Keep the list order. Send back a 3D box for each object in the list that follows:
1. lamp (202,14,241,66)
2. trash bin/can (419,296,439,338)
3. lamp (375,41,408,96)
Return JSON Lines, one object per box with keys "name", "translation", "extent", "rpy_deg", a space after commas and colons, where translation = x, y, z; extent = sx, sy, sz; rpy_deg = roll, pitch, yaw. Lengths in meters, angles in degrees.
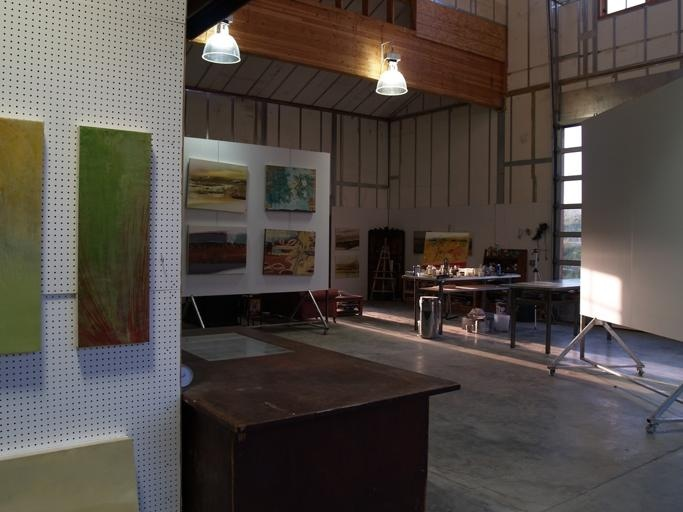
{"name": "lamp", "translation": [-1.465, -2.694, 6.400], "extent": [0.387, 0.593, 0.435], "rpy_deg": [5, 3, 12]}
{"name": "trash bin/can", "translation": [1.605, 1.138, 9.747], "extent": [0.481, 0.764, 0.517], "rpy_deg": [2, 1, 6]}
{"name": "lamp", "translation": [0.776, -2.951, 8.074], "extent": [0.411, 0.837, 0.432], "rpy_deg": [1, 8, 15]}
